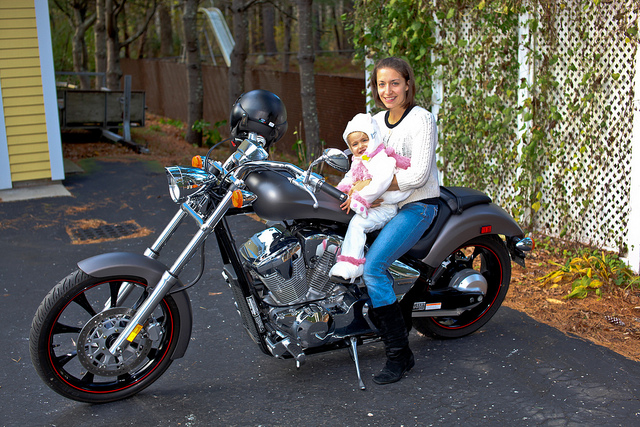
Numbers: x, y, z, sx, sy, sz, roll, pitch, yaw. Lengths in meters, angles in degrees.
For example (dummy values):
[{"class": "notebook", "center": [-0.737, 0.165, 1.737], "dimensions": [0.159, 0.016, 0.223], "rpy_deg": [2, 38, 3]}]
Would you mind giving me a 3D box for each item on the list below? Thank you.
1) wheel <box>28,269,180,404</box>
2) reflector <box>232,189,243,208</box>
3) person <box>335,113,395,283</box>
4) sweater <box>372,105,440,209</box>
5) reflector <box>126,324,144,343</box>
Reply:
[{"class": "wheel", "center": [-1.666, 1.005, 4.153], "dimensions": [1.020, 1.099, 0.206], "rpy_deg": [3, 6, -23]}, {"class": "reflector", "center": [-0.592, -0.096, 3.817], "dimensions": [0.094, 0.101, 0.033], "rpy_deg": [-19, -10, 39]}, {"class": "person", "center": [0.371, -0.100, 4.132], "dimensions": [0.434, 1.286, 0.580], "rpy_deg": [3, 17, 7]}, {"class": "sweater", "center": [0.688, -0.441, 4.287], "dimensions": [0.428, 0.750, 0.624], "rpy_deg": [-22, 17, -13]}, {"class": "reflector", "center": [-1.384, 0.887, 3.946], "dimensions": [0.030, 0.126, 0.096], "rpy_deg": [40, -5, 19]}]
